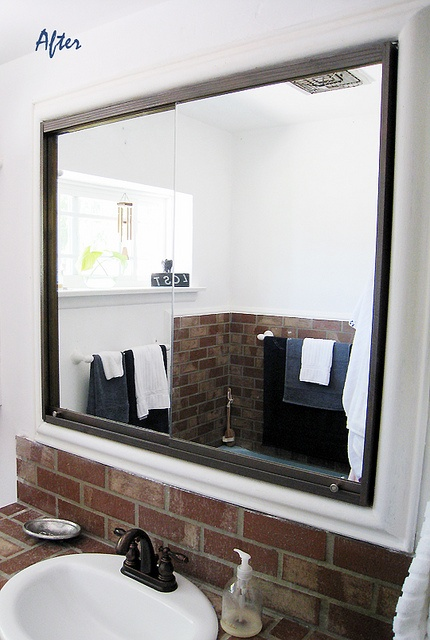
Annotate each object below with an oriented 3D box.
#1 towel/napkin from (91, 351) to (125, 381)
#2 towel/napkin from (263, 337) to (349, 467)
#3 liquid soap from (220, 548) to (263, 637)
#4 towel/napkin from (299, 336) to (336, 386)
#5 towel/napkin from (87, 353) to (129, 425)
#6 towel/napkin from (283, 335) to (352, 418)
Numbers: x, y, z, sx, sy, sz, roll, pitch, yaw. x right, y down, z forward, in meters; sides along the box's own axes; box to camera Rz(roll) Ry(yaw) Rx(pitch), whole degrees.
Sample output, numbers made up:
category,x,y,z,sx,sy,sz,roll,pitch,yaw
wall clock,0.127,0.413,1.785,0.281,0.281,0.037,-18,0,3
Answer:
category,x,y,z,sx,sy,sz,roll,pitch,yaw
towel/napkin,-0.401,0.179,1.954,0.035,0.100,0.095,-14,-10,30
towel/napkin,0.243,0.219,1.330,0.052,0.345,0.292,-2,4,-44
liquid soap,0.055,0.517,1.026,0.083,0.160,0.160,2,10,8
towel/napkin,0.255,0.109,1.321,0.084,0.110,0.028,10,10,44
towel/napkin,-0.395,0.260,1.850,0.154,0.252,0.071,27,-49,-36
towel/napkin,0.246,0.149,1.350,0.045,0.175,0.162,-10,12,-43
